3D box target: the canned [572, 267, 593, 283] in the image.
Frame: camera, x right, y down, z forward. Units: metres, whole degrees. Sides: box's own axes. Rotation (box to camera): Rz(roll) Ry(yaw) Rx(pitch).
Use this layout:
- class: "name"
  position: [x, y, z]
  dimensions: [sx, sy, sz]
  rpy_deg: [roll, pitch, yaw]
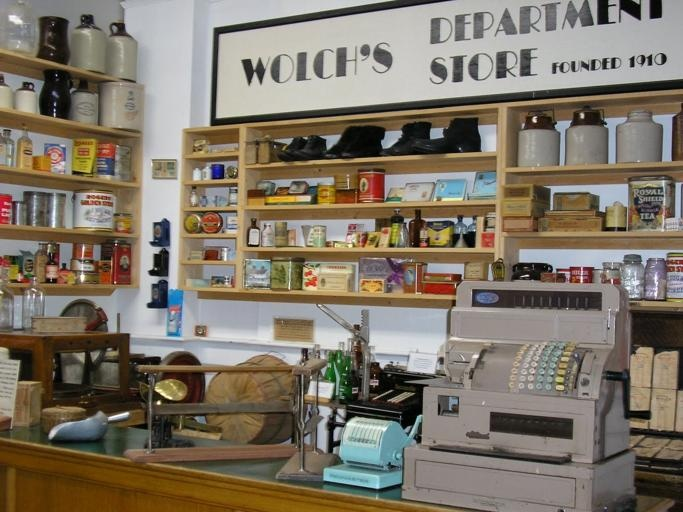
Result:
- class: "canned"
  position: [1.477, 0.121, 3.758]
  dimensions: [0.125, 0.061, 0.102]
  rpy_deg: [1, -4, -1]

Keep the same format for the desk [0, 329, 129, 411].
- class: "desk"
  position: [-1.780, 0.730, 3.933]
  dimensions: [0.405, 0.490, 0.668]
  rpy_deg: [-1, -4, 27]

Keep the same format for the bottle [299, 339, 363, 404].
- class: "bottle"
  position: [-0.013, 0.705, 3.798]
  dimensions: [0.257, 0.394, 0.355]
  rpy_deg: [1, -4, 1]

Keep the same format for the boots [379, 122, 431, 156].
- class: "boots"
  position: [0.444, -0.810, 4.304]
  dimensions: [0.449, 0.185, 0.126]
  rpy_deg: [-16, 5, -10]

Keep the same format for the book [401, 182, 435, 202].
- class: "book"
  position: [0.527, -0.443, 4.264]
  dimensions: [0.226, 0.158, 0.155]
  rpy_deg: [0, -4, 12]

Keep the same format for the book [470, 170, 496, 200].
- class: "book"
  position: [0.957, -0.467, 4.094]
  dimensions: [0.224, 0.182, 0.052]
  rpy_deg: [5, -17, 34]

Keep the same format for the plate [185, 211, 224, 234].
- class: "plate"
  position: [-1.113, -0.262, 4.930]
  dimensions: [0.266, 0.104, 0.070]
  rpy_deg: [1, -1, 25]

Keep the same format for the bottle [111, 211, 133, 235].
- class: "bottle"
  position: [-1.843, -0.270, 5.130]
  dimensions: [0.218, 0.137, 0.181]
  rpy_deg: [0, -3, 11]

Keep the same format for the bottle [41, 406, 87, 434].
- class: "bottle"
  position: [-1.430, 0.847, 3.136]
  dimensions: [0.170, 0.126, 0.204]
  rpy_deg: [4, -4, -36]

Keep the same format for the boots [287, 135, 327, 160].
- class: "boots"
  position: [-0.297, -0.780, 4.421]
  dimensions: [0.140, 0.132, 0.398]
  rpy_deg: [1, 0, 35]

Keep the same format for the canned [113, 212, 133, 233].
- class: "canned"
  position: [-1.840, -0.271, 5.210]
  dimensions: [0.205, 0.132, 0.172]
  rpy_deg: [-1, -3, 13]

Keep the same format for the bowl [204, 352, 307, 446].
- class: "bowl"
  position: [-0.663, 1.009, 4.212]
  dimensions: [0.645, 0.502, 0.627]
  rpy_deg: [3, -8, 0]

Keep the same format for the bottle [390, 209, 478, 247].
- class: "bottle"
  position: [0.680, -0.183, 4.207]
  dimensions: [0.473, 0.259, 0.149]
  rpy_deg: [0, -4, 9]

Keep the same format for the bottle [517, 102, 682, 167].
- class: "bottle"
  position: [1.639, -0.752, 3.826]
  dimensions: [0.697, 0.222, 0.184]
  rpy_deg: [0, 2, 22]

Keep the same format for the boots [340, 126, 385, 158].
- class: "boots"
  position: [0.108, -0.816, 4.414]
  dimensions: [0.408, 0.193, 0.132]
  rpy_deg: [-13, 25, -39]

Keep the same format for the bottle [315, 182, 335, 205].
- class: "bottle"
  position: [-0.120, -0.448, 4.484]
  dimensions: [0.195, 0.142, 0.160]
  rpy_deg: [-1, -3, 14]

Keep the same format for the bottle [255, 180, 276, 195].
- class: "bottle"
  position: [-0.583, -0.525, 4.773]
  dimensions: [0.164, 0.082, 0.117]
  rpy_deg: [3, -3, -44]

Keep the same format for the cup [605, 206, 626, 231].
- class: "cup"
  position: [1.680, -0.228, 3.739]
  dimensions: [0.122, 0.164, 0.069]
  rpy_deg: [0, -5, 18]

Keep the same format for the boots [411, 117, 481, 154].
- class: "boots"
  position: [0.698, -0.809, 4.156]
  dimensions: [0.520, 0.201, 0.193]
  rpy_deg: [-4, 10, -17]

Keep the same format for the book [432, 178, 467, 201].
- class: "book"
  position: [0.737, -0.455, 4.219]
  dimensions: [0.219, 0.166, 0.165]
  rpy_deg: [0, -4, 15]
